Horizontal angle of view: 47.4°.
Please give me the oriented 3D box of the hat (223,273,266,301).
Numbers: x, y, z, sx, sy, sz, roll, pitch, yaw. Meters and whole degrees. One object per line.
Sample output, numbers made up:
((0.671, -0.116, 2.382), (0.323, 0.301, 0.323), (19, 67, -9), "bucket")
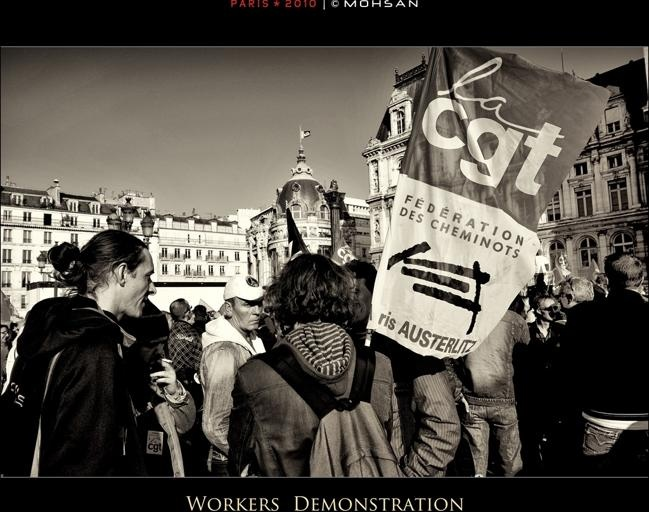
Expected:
((-0.776, 0.310, 7.119), (0.317, 0.192, 0.244), (-8, -7, 41), "hat")
